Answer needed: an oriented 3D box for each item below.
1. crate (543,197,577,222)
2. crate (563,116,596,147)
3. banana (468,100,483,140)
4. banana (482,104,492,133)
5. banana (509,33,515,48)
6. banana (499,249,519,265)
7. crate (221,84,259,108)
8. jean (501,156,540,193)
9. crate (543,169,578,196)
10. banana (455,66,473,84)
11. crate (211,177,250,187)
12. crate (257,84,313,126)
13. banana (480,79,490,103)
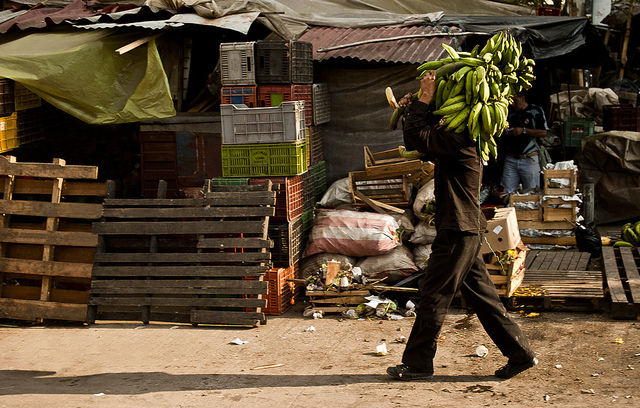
[{"bbox_3d":[3.764,0.099,11.214,0.595,0.216,0.461,0,1,7],"label":"crate"},{"bbox_3d":[4.721,-1.337,12.931,0.532,0.535,0.393,0,7,13],"label":"crate"},{"bbox_3d":[1.699,-0.927,7.669,0.192,0.408,0.079,-8,10,-40],"label":"banana"},{"bbox_3d":[1.820,-0.936,7.685,0.099,0.299,0.073,-1,8,9],"label":"banana"},{"bbox_3d":[2.152,-1.827,7.934,0.054,0.138,0.151,0,6,12],"label":"banana"},{"bbox_3d":[2.538,0.693,9.504,0.338,0.145,0.114,-44,-3,-34],"label":"banana"},{"bbox_3d":[-1.125,-1.571,10.221,0.761,0.300,0.339,0,1,6],"label":"crate"},{"bbox_3d":[3.361,-0.512,11.889,0.604,0.607,0.240,0,7,8],"label":"jean"},{"bbox_3d":[3.795,-0.367,11.360,0.619,0.230,0.497,-1,0,8],"label":"crate"},{"bbox_3d":[1.573,-1.446,7.803,0.223,0.103,0.070,-43,5,-36],"label":"banana"},{"bbox_3d":[-1.222,-0.321,9.809,0.494,0.116,0.312,0,5,5],"label":"crate"},{"bbox_3d":[-0.118,-1.490,10.278,0.711,0.614,1.093,2,-2,17],"label":"crate"},{"bbox_3d":[1.775,-1.249,7.726,0.153,0.222,0.087,5,-9,-22],"label":"banana"}]
